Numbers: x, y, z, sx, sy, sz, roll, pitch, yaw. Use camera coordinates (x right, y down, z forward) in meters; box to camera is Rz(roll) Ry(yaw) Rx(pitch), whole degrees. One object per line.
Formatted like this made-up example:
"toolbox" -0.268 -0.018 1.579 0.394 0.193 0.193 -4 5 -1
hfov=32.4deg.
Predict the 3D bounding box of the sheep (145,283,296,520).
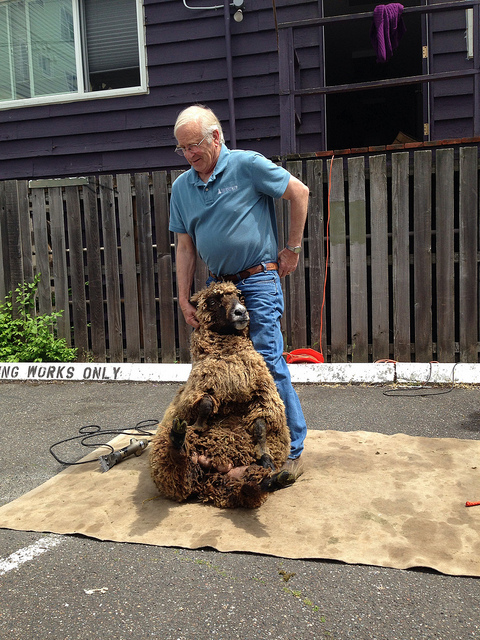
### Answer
"sheep" -0.121 0.423 4.389 0.775 1.148 0.757 -5 10 -7

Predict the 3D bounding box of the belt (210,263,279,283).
"belt" 0.066 -0.287 4.738 0.176 0.047 0.166 -17 3 -20

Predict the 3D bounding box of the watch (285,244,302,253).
"watch" 0.307 -0.424 4.826 0.078 0.045 0.079 3 4 -42
